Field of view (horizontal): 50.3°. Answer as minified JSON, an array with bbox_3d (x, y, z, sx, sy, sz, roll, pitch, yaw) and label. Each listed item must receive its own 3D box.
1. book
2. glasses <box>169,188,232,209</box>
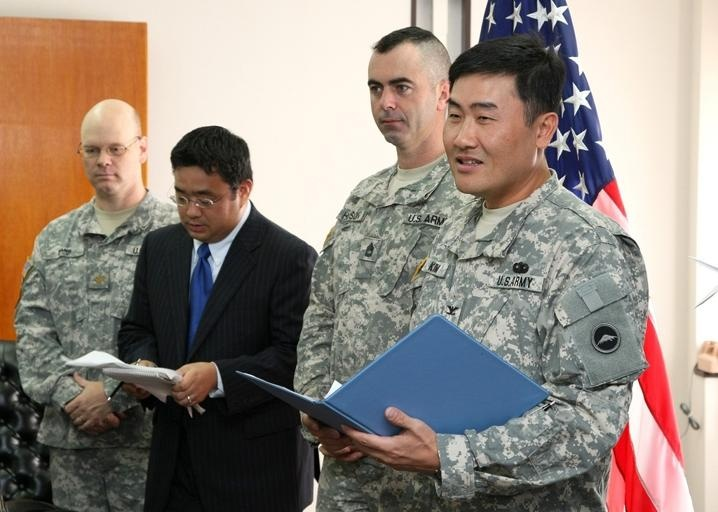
[{"bbox_3d":[0.210,0.409,2.288,0.395,0.216,0.567,36,-16,-31],"label":"book"},{"bbox_3d":[-0.679,-0.226,3.155,0.246,0.068,0.077,0,-2,20],"label":"glasses"}]
